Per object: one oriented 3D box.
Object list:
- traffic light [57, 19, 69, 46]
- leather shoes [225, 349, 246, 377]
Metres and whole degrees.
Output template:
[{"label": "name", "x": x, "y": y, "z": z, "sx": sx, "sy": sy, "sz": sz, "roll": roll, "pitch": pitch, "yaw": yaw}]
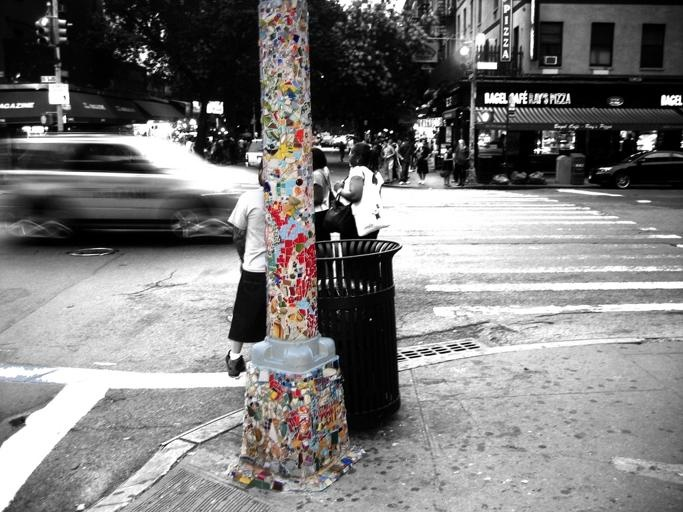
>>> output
[{"label": "traffic light", "x": -9.461, "y": -7.588, "z": 20.499, "sx": 0.265, "sy": 0.816, "sz": 1.163, "roll": -7, "pitch": 11, "yaw": -21}, {"label": "leather shoes", "x": -0.983, "y": 1.023, "z": 5.750, "sx": 0.140, "sy": 0.237, "sz": 0.367, "roll": 1, "pitch": 11, "yaw": 4}]
